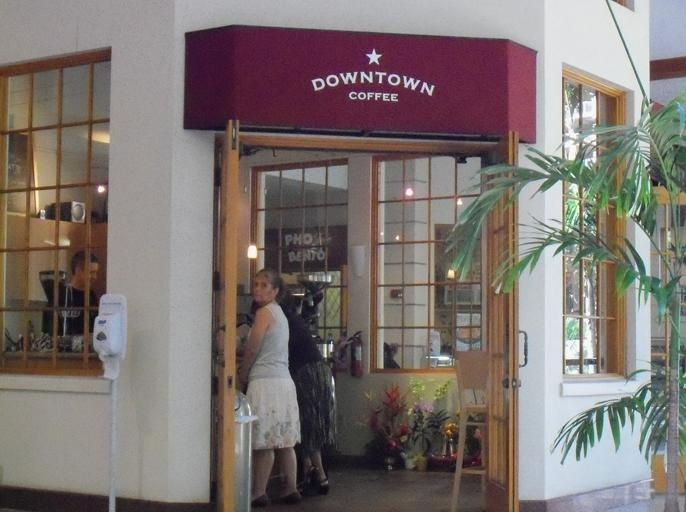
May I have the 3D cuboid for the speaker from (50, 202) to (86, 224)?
[{"bbox_3d":[-2.461,-0.391,7.181,0.258,0.197,0.199,-1,-4,19],"label":"speaker"}]

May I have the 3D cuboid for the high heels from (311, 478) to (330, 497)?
[{"bbox_3d":[-0.211,2.193,7.622,0.168,0.141,0.140,-1,-7,-4],"label":"high heels"}]

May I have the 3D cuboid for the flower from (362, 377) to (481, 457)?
[{"bbox_3d":[0.767,1.887,9.266,0.857,1.053,0.834,1,-13,-2],"label":"flower"}]
